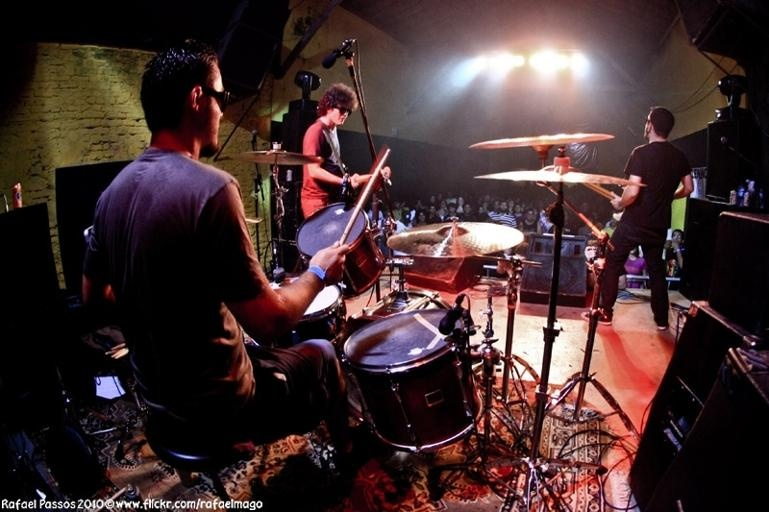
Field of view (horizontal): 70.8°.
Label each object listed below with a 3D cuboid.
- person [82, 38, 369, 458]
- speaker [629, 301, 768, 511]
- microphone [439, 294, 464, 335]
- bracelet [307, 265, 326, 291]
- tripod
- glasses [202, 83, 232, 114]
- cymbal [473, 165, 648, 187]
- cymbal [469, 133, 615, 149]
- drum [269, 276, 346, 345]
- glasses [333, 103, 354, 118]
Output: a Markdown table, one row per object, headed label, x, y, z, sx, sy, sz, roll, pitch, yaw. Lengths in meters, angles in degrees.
| label | x | y | z | sx | sy | sz | roll | pitch | yaw |
| --- | --- | --- | --- | --- | --- | --- | --- | --- | --- |
| person | -1.059 | 0.074 | 3.318 | 1.534 | 2.702 | 0.585 | 0 | 10 | 3 |
| speaker | 1.928 | 0.949 | 3.730 | 0.305 | 1.200 | 0.862 | 32 | 20 | 27 |
| microphone | 0.464 | 0.399 | 3.777 | 0.170 | 0.303 | 0.251 | 1 | 10 | 7 |
| bracelet | -0.415 | 0.142 | 3.356 | 0.128 | 0.134 | 0.129 | -3 | 2 | -16 |
| tripod | 1.254 | 0.956 | 5.362 | 1.930 | 3.300 | 1.942 | 9 | -9 | -24 |
| glasses | -1.005 | -0.966 | 3.288 | 0.129 | 0.137 | 0.044 | 28 | 57 | 21 |
| cymbal | 1.295 | -0.562 | 3.747 | 0.628 | 0.097 | 0.622 | -10 | 12 | -38 |
| cymbal | 1.246 | -0.904 | 4.191 | 0.907 | 0.132 | 1.148 | 3 | 11 | 20 |
| drum | -0.572 | 0.431 | 4.333 | 0.489 | 0.504 | 0.504 | 0 | 32 | 7 |
| glasses | -0.434 | -1.534 | 5.640 | 0.121 | 0.044 | 0.121 | 19 | -28 | -29 |
